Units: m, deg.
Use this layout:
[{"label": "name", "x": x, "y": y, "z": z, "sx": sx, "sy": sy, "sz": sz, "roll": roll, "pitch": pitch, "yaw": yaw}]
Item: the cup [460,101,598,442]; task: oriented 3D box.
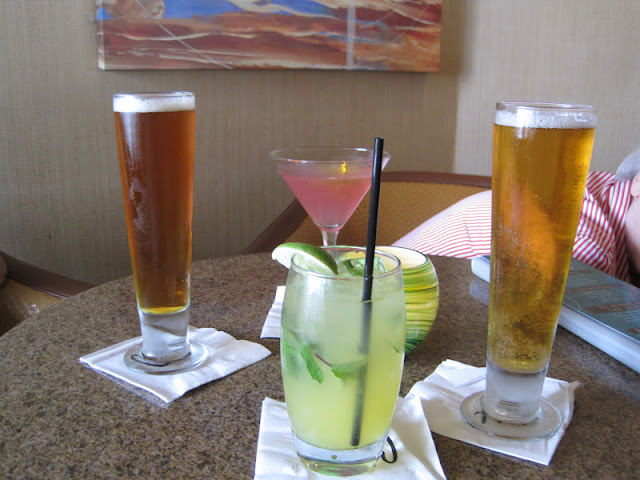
[{"label": "cup", "x": 0.216, "y": 0.041, "z": 0.514, "sx": 0.118, "sy": 0.341, "sz": 0.120, "roll": 0, "pitch": 25, "yaw": 0}]

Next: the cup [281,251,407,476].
[{"label": "cup", "x": 0.018, "y": 0.123, "z": 0.485, "sx": 0.114, "sy": 0.191, "sz": 0.094, "roll": 4, "pitch": 25, "yaw": 7}]

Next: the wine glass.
[{"label": "wine glass", "x": 0.021, "y": -0.026, "z": 1.044, "sx": 0.212, "sy": 0.219, "sz": 0.198, "roll": -3, "pitch": -10, "yaw": 13}]
